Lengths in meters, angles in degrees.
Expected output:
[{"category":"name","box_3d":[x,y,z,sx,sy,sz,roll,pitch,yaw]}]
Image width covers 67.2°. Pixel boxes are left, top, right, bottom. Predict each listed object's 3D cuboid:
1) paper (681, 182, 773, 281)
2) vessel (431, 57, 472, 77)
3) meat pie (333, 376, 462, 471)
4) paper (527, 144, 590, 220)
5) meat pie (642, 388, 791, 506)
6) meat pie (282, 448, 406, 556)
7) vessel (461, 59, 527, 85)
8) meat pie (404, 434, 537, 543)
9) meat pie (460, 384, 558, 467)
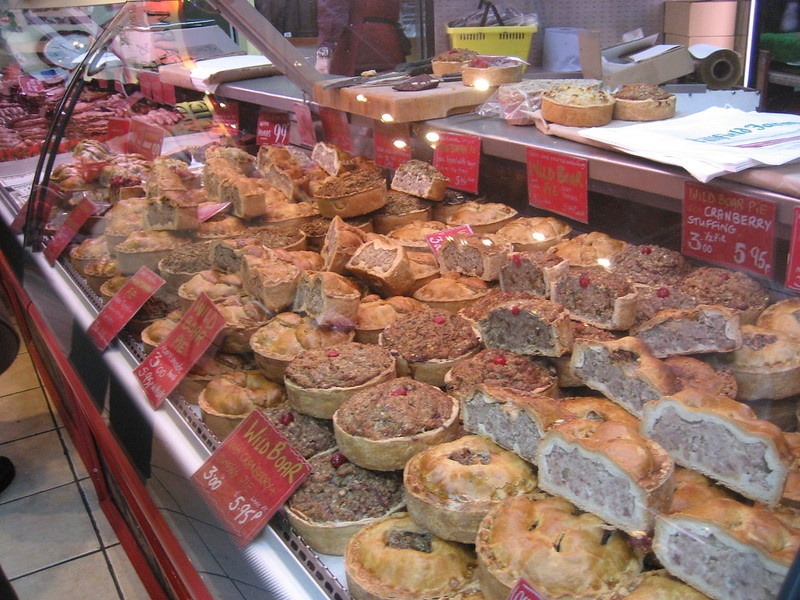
[{"category":"paper","box_3d":[0.955,-0.209,1.748,0.039,0.220,0.323,-35,38,-27]},{"category":"vessel","box_3d":[0.268,-1.169,3.023,0.231,0.064,0.194,0,27,0]},{"category":"meat pie","box_3d":[0.009,0.361,1.830,0.348,0.105,0.310,6,26,32]},{"category":"paper","box_3d":[0.586,-0.443,2.211,0.019,0.195,0.332,-29,33,-30]},{"category":"meat pie","box_3d":[0.741,0.363,1.441,0.113,0.121,0.298,-17,28,-40]},{"category":"meat pie","box_3d":[-0.133,0.610,1.833,0.300,0.085,0.321,18,40,39]},{"category":"vessel","box_3d":[0.442,-1.073,2.841,0.258,0.063,0.222,2,20,11]},{"category":"meat pie","box_3d":[0.211,0.485,1.656,0.315,0.121,0.321,-30,35,-36]},{"category":"meat pie","box_3d":[0.363,0.326,1.703,0.252,0.123,0.308,4,6,-40]}]
